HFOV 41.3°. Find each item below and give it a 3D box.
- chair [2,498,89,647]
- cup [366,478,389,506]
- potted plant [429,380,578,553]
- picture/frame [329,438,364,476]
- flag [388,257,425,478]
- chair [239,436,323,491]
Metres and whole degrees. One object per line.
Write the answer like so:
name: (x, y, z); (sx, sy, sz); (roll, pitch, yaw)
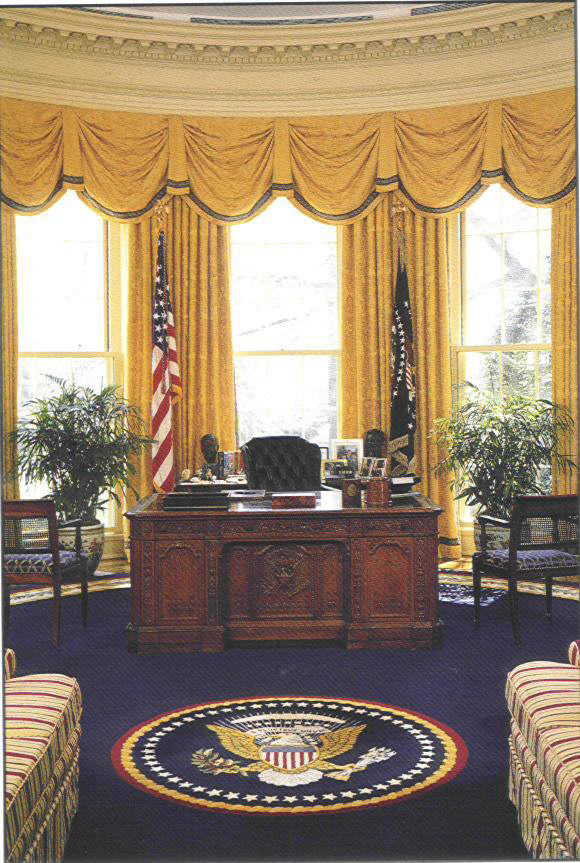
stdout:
chair: (-1.474, 0.768, 4.573); (0.515, 0.810, 1.432); (0, -1, -14)
cup: (0.469, 0.325, 4.150); (0.135, 0.128, 0.132); (-1, 0, 0)
potted plant: (1.677, 0.277, 6.381); (1.380, 1.435, 1.092); (0, 3, 3)
picture/frame: (0.435, 0.207, 5.989); (0.251, 0.326, 0.032); (1, -17, 2)
flag: (0.960, -0.571, 6.685); (0.230, 1.927, 0.165); (0, -1, 5)
chair: (-0.070, 0.221, 4.985); (0.424, 0.520, 0.377); (-1, 2, -7)
